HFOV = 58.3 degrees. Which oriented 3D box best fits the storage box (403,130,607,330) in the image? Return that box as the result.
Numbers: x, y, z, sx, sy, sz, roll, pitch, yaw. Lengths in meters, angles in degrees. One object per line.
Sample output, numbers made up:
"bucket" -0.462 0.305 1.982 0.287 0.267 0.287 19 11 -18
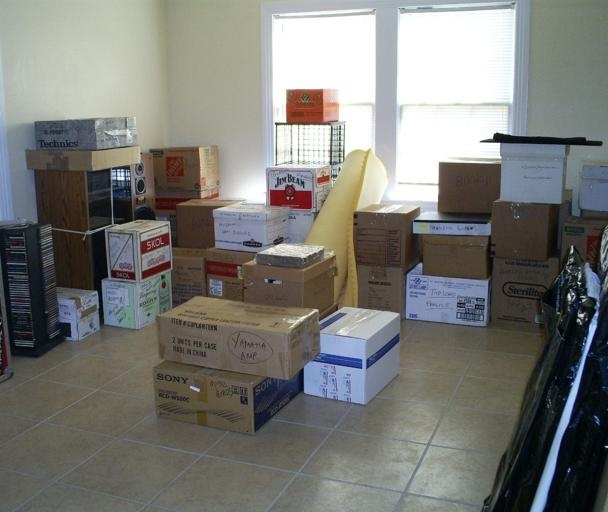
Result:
"storage box" 1.722 -0.240 5.188 1.480 1.804 1.755 3 13 18
